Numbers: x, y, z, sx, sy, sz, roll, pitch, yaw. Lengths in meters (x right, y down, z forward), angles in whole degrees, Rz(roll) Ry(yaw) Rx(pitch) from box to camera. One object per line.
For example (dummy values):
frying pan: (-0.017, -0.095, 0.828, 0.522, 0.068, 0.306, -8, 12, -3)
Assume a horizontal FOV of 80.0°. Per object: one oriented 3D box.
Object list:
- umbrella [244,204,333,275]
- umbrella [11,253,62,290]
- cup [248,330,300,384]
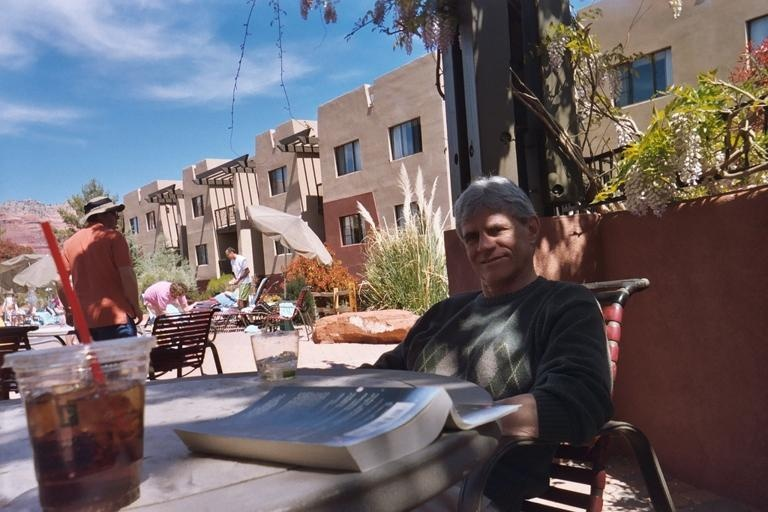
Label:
umbrella: (-2.878, -0.693, 13.766, 2.871, 1.832, 1.094, -10, -2, 38)
umbrella: (-8.989, 0.401, 11.678, 1.203, 0.682, 1.243, -2, 4, -2)
cup: (-0.395, 0.347, 1.679, 0.194, 0.161, 0.176, -3, 1, 27)
